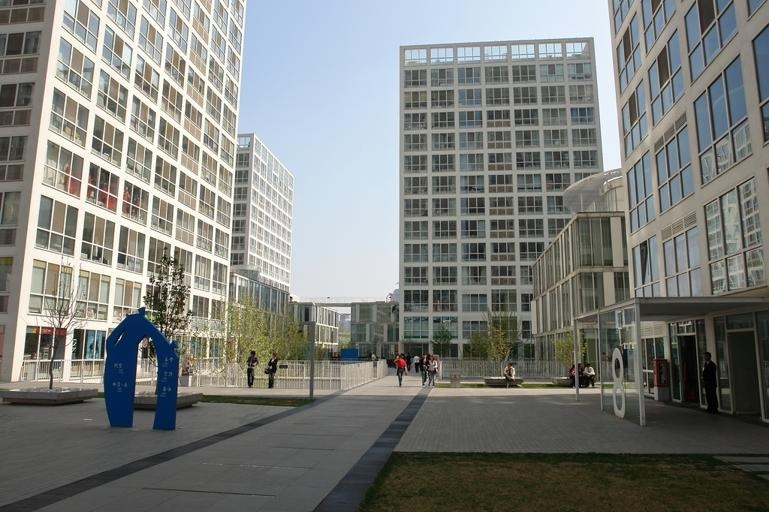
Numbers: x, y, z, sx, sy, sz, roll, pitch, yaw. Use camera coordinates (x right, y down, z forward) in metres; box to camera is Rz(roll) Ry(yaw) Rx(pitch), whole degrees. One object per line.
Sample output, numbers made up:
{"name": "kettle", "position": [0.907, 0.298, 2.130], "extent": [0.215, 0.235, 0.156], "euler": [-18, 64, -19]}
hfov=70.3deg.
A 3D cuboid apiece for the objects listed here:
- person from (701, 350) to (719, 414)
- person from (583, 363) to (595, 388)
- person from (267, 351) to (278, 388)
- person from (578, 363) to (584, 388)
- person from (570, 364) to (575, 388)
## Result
{"name": "person", "position": [14.469, 5.580, 24.103], "extent": [0.548, 2.575, 0.559], "euler": [-2, -12, -2]}
{"name": "person", "position": [13.860, 8.085, 37.031], "extent": [0.623, 1.414, 1.608], "euler": [-6, -13, 18]}
{"name": "person", "position": [-6.942, 7.098, 33.823], "extent": [0.621, 2.106, 1.192], "euler": [0, -12, -14]}
{"name": "person", "position": [13.363, 8.103, 37.065], "extent": [0.357, 1.432, 1.782], "euler": [-7, -13, 19]}
{"name": "person", "position": [13.110, 8.500, 38.234], "extent": [0.325, 1.220, 1.358], "euler": [-7, -13, 21]}
